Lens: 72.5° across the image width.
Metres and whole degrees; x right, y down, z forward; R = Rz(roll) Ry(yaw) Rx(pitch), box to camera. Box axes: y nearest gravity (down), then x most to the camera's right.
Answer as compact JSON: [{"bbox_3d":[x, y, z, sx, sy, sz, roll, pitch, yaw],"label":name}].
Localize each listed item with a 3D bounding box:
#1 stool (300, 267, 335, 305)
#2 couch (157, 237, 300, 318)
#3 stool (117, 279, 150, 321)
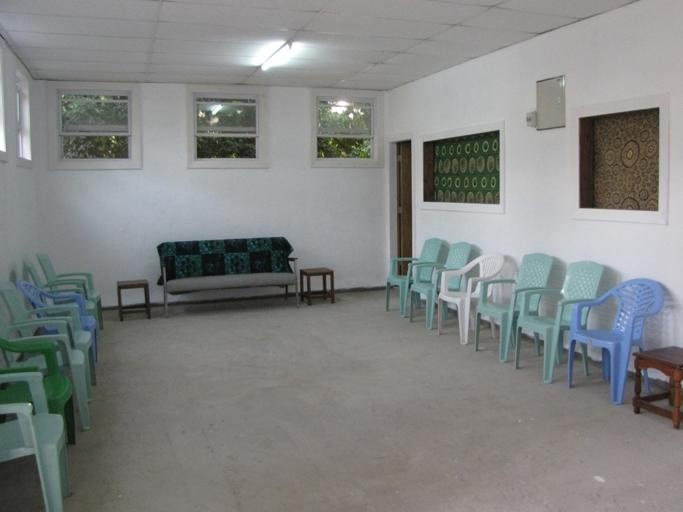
[{"bbox_3d":[-0.398,0.508,8.192,0.565,0.696,0.587,-3,4,-26],"label":"stool"},{"bbox_3d":[-1.818,0.298,7.842,2.307,1.289,1.094,-3,1,-29],"label":"couch"},{"bbox_3d":[-3.255,0.672,7.314,0.588,0.554,0.656,1,5,11],"label":"stool"}]
